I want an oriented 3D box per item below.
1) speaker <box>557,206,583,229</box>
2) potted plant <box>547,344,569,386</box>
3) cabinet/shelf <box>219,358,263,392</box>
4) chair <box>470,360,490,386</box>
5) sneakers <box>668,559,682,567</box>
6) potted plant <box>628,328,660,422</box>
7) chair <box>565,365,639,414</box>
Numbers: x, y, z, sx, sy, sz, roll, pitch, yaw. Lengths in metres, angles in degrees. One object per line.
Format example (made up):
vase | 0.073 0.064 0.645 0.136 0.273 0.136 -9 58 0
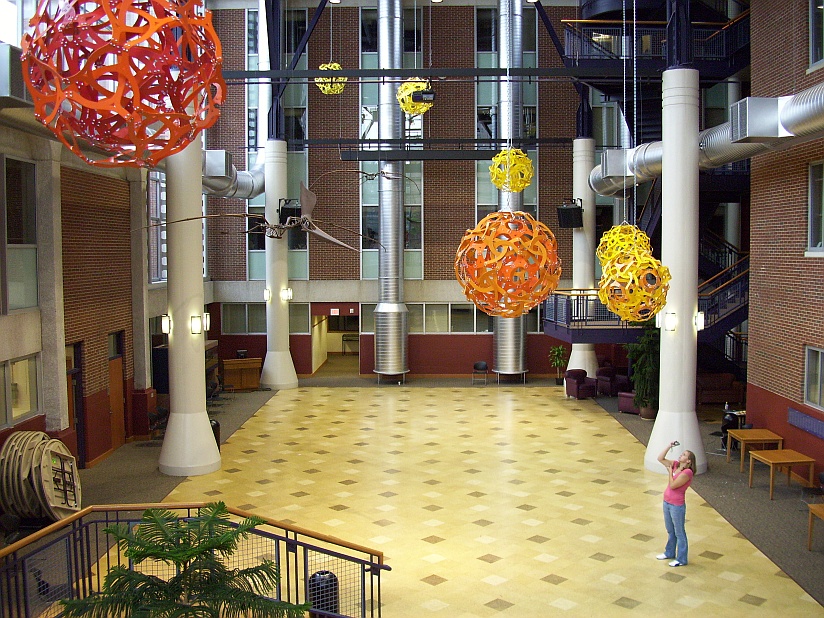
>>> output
speaker | 5.065 -2.934 22.404 0.684 0.745 0.699 0 0 2
potted plant | 5.136 1.880 24.452 0.570 1.256 1.955 1 5 12
cabinet/shelf | -5.614 2.063 23.191 1.646 1.441 0.917 -1 9 -17
chair | 2.446 2.229 25.097 0.495 0.770 0.799 1 9 9
sneakers | 3.937 3.803 10.505 0.154 0.067 0.081 4 -1 10
potted plant | 6.198 1.670 18.820 0.718 2.560 0.622 2 6 25
chair | 5.855 2.334 21.188 1.194 0.831 1.402 1 -3 -20
